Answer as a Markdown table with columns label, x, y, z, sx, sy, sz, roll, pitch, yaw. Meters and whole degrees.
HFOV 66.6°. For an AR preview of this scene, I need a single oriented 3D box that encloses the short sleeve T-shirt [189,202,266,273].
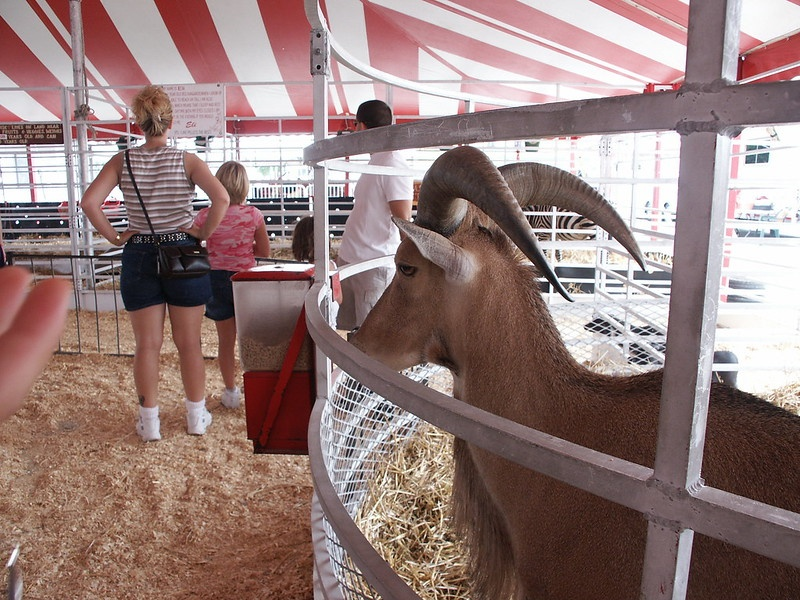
| label | x | y | z | sx | sy | sz | roll | pitch | yaw |
| --- | --- | --- | --- | --- | --- | --- | --- | --- | --- |
| short sleeve T-shirt | -1.336 | -0.524 | 4.826 | 0.507 | 0.543 | 0.304 | 3 | 37 | -12 |

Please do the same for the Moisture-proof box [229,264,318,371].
| label | x | y | z | sx | sy | sz | roll | pitch | yaw |
| --- | --- | --- | --- | --- | --- | --- | --- | --- | --- |
| Moisture-proof box | -0.672 | 0.075 | 3.537 | 0.522 | 0.807 | 0.562 | -1 | 4 | -11 |

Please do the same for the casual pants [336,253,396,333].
| label | x | y | z | sx | sy | sz | roll | pitch | yaw |
| --- | --- | --- | --- | --- | --- | --- | --- | --- | --- |
| casual pants | -0.181 | -0.059 | 3.343 | 0.144 | 0.235 | 0.475 | -1 | -20 | -20 |

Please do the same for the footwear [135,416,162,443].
| label | x | y | z | sx | sy | sz | roll | pitch | yaw |
| --- | --- | --- | --- | --- | --- | --- | --- | --- | --- |
| footwear | -1.768 | 0.927 | 4.312 | 0.087 | 0.203 | 0.272 | -2 | 3 | -17 |

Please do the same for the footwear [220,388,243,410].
| label | x | y | z | sx | sy | sz | roll | pitch | yaw |
| --- | --- | --- | --- | --- | --- | --- | --- | --- | --- |
| footwear | -1.361 | 0.813 | 4.933 | 0.105 | 0.196 | 0.187 | 2 | 7 | -9 |

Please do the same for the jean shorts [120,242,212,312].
| label | x | y | z | sx | sy | sz | roll | pitch | yaw |
| --- | --- | --- | --- | --- | --- | --- | --- | --- | --- |
| jean shorts | -1.597 | -0.172 | 4.148 | 0.493 | 0.506 | 0.293 | -7 | 8 | -2 |
